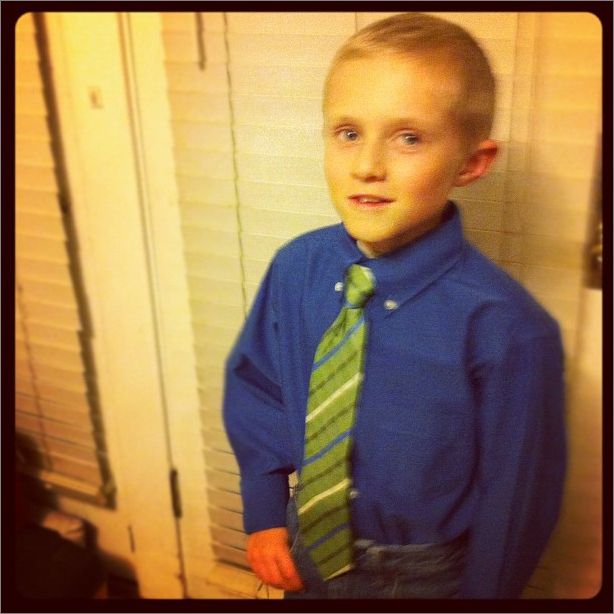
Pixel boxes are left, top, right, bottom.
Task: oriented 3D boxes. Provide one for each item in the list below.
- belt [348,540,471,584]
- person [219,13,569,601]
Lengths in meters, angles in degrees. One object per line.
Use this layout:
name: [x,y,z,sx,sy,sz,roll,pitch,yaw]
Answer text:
belt: [0.200,0.466,1.238,0.157,0.044,0.111,-2,-1,-31]
person: [0.161,0.045,1.213,0.669,1.101,0.257,-3,18,-5]
